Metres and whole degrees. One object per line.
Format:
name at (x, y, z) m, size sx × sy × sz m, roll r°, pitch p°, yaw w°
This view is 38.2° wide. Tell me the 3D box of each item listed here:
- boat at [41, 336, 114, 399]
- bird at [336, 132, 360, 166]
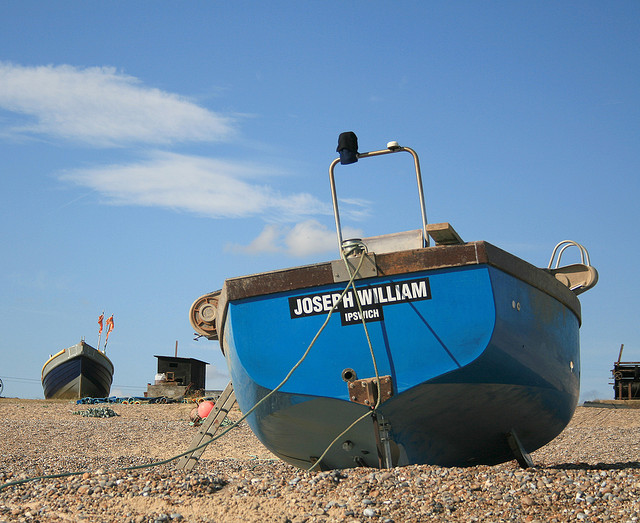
boat at (-9.619, 4.294, 36.965) m, size 2.891 × 2.238 × 4.298 m, roll 2°, pitch -6°, yaw -19°
bird at (0.277, -1.118, 9.041) m, size 0.217 × 0.318 × 0.188 m, roll 0°, pitch -5°, yaw 2°
